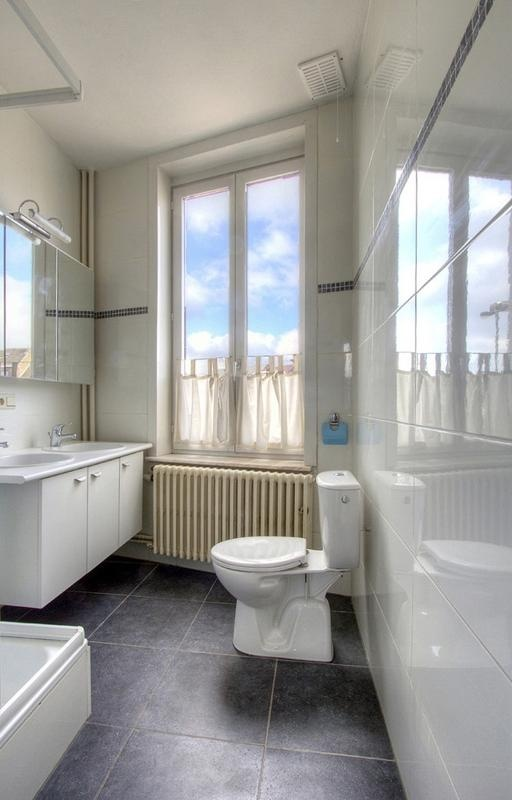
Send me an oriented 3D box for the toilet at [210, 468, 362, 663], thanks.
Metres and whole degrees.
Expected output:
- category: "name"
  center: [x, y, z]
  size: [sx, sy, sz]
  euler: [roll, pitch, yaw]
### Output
- category: "toilet"
  center: [0.120, 0.653, 2.261]
  size: [0.585, 0.874, 0.451]
  euler: [2, -2, 12]
